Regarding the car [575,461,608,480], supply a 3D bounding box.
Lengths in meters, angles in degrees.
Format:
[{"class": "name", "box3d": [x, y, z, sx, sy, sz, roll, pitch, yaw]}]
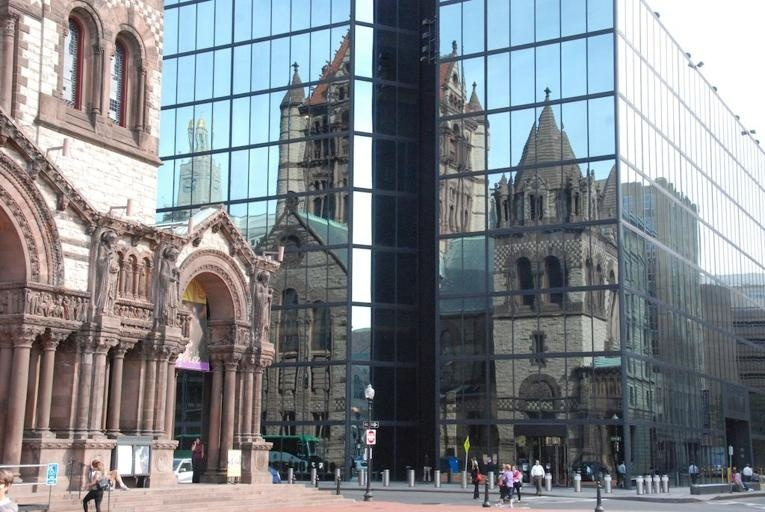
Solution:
[{"class": "car", "box3d": [13.566, 14.028, 62.121, 2.725, 1.014, 2.077, 3, -7, 0]}]

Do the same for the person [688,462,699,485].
[{"class": "person", "box3d": [22.835, 16.035, 70.174, 0.380, 1.529, 1.818, -10, -21, 27]}]

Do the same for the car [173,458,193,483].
[{"class": "car", "box3d": [-9.913, 10.540, 46.809, 0.970, 0.861, 1.664, 2, -20, -2]}]

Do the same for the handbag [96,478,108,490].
[{"class": "handbag", "box3d": [-10.236, 8.381, 34.794, 0.411, 0.376, 0.311, -19, -18, 40]}]

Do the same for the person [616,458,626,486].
[{"class": "person", "box3d": [15.442, 14.111, 61.655, 0.671, 1.748, 0.310, -9, -20, 25]}]

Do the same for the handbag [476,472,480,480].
[{"class": "handbag", "box3d": [5.188, 12.107, 52.110, 0.249, 0.428, 0.397, -7, -19, 22]}]
